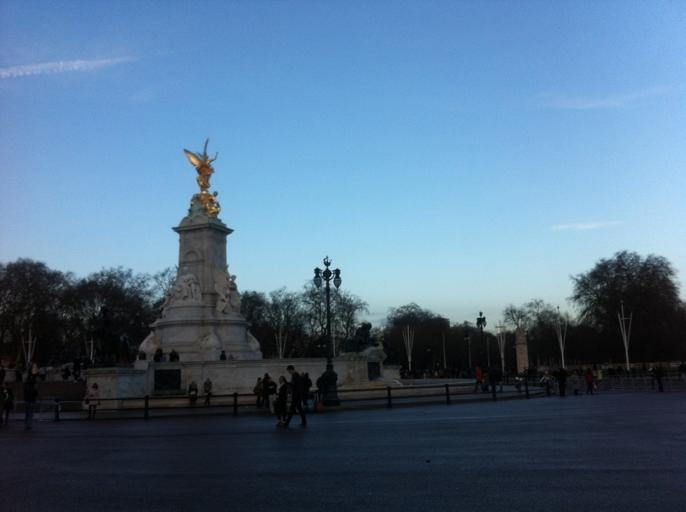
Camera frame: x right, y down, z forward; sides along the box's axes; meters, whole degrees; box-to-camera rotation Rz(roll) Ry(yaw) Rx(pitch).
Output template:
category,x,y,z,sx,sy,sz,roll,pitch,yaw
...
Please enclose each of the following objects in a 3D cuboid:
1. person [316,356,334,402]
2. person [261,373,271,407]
category,x,y,z,sx,sy,sz,roll,pitch,yaw
person,-0.609,5.528,36.769,0.887,1.868,0.923,4,-8,-43
person,-3.415,5.976,37.293,0.369,1.503,0.819,-1,-11,-6
